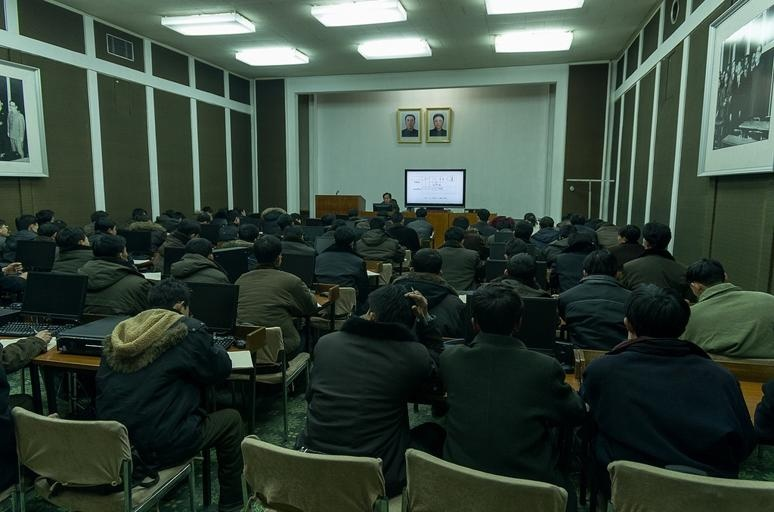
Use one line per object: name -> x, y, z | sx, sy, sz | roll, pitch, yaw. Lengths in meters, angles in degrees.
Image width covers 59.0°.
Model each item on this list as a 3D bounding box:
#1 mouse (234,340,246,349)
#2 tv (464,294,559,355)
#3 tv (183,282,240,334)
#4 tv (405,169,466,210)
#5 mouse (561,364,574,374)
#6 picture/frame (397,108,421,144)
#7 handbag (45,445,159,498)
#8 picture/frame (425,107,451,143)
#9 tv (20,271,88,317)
mouse -> -1.198, 0.734, 5.691 | 0.071, 0.024, 0.069 | 6, 10, 18
tv -> 1.013, 0.548, 5.519 | 0.851, 0.541, 0.488 | 2, 5, 26
tv -> -1.460, 0.443, 5.735 | 0.443, 0.304, 0.069 | 8, 0, 11
tv -> 1.064, -1.403, 14.559 | 1.141, 0.745, 0.221 | 0, 0, 9
mouse -> 1.438, 0.898, 5.442 | 0.094, 0.066, 0.071 | -1, 6, -10
picture/frame -> 0.536, -2.858, 15.236 | 0.543, 0.738, 0.201 | 0, 6, -1
handbag -> -2.013, 1.530, 4.865 | 0.762, 0.318, 0.222 | 1, 6, 2
picture/frame -> 1.163, -2.889, 15.044 | 0.803, 0.903, 0.072 | 1, 8, 9
tv -> -2.863, 0.343, 5.962 | 0.394, 0.260, 0.069 | 5, 0, 10
